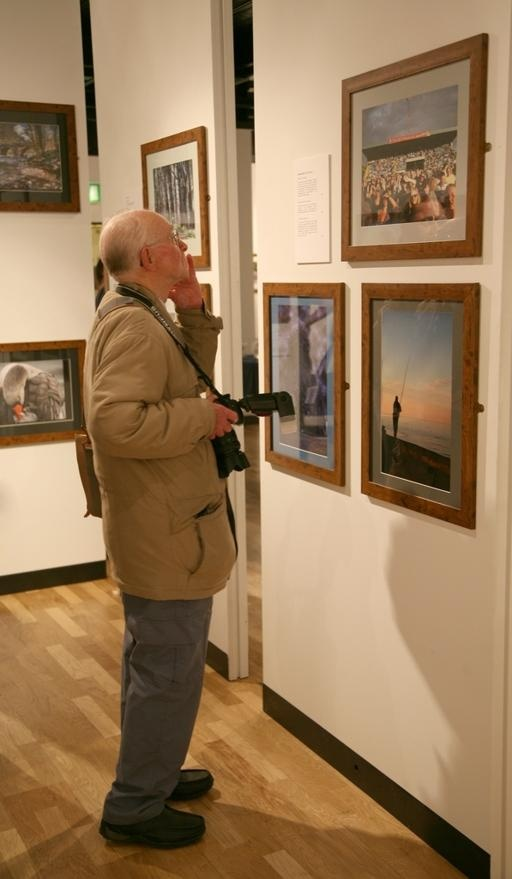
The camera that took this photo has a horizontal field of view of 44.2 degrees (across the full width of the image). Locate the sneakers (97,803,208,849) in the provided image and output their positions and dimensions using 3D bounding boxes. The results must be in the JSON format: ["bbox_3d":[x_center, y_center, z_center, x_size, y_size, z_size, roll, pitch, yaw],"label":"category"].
[{"bbox_3d":[-0.337,1.226,2.019,0.298,0.167,0.137,-1,0,-5],"label":"sneakers"}]

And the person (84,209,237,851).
[{"bbox_3d":[-0.277,0.304,1.976,0.471,2.019,0.660,-2,1,-16],"label":"person"}]
